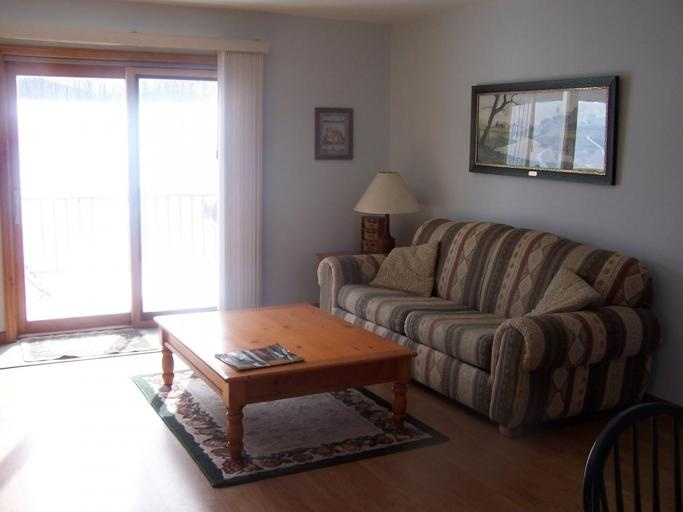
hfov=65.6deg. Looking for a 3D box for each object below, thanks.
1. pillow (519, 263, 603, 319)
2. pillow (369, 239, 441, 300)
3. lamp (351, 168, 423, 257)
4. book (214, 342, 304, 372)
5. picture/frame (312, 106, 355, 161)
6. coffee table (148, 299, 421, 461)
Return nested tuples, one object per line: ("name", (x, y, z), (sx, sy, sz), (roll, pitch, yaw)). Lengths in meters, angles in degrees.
("pillow", (1.424, 0.229, 3.458), (0.358, 0.232, 0.425), (0, 10, 2))
("pillow", (0.619, 0.016, 4.824), (0.580, 0.177, 0.643), (-15, 18, 7))
("lamp", (0.472, -0.415, 5.431), (0.717, 0.857, 0.712), (-4, 12, -19))
("book", (-0.471, 0.577, 3.036), (0.424, 0.028, 0.368), (-6, 12, -30))
("picture/frame", (-0.111, -1.335, 5.696), (0.594, 0.726, 0.049), (-2, 10, -23))
("coffee table", (-0.293, 0.887, 3.232), (0.896, 0.366, 1.204), (-3, 11, -29))
